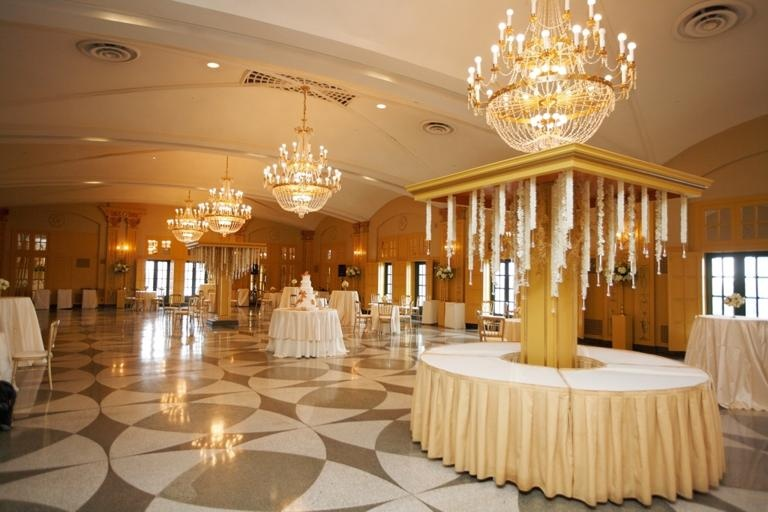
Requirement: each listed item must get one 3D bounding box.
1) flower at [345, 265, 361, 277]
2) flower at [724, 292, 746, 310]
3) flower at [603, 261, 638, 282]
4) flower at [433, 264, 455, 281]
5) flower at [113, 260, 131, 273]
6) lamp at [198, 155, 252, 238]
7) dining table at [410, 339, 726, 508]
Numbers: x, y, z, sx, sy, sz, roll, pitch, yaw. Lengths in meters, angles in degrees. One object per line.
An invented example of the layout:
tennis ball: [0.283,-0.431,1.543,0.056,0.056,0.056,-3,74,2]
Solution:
flower: [-1.265,0.665,21.395,0.478,0.431,0.487,-5,-5,38]
flower: [7.006,0.895,10.063,0.379,0.296,0.401,3,-5,7]
flower: [4.773,0.315,10.130,0.465,0.428,0.477,-5,5,-14]
flower: [2.026,0.570,16.636,0.504,0.341,0.511,5,0,-37]
flower: [-11.271,0.491,21.800,0.537,0.572,0.521,-4,-14,5]
lamp: [-4.745,-1.836,15.373,1.093,2.294,4.673,-2,10,-16]
dining table: [2.221,2.048,6.258,3.582,1.312,1.296,3,10,12]
